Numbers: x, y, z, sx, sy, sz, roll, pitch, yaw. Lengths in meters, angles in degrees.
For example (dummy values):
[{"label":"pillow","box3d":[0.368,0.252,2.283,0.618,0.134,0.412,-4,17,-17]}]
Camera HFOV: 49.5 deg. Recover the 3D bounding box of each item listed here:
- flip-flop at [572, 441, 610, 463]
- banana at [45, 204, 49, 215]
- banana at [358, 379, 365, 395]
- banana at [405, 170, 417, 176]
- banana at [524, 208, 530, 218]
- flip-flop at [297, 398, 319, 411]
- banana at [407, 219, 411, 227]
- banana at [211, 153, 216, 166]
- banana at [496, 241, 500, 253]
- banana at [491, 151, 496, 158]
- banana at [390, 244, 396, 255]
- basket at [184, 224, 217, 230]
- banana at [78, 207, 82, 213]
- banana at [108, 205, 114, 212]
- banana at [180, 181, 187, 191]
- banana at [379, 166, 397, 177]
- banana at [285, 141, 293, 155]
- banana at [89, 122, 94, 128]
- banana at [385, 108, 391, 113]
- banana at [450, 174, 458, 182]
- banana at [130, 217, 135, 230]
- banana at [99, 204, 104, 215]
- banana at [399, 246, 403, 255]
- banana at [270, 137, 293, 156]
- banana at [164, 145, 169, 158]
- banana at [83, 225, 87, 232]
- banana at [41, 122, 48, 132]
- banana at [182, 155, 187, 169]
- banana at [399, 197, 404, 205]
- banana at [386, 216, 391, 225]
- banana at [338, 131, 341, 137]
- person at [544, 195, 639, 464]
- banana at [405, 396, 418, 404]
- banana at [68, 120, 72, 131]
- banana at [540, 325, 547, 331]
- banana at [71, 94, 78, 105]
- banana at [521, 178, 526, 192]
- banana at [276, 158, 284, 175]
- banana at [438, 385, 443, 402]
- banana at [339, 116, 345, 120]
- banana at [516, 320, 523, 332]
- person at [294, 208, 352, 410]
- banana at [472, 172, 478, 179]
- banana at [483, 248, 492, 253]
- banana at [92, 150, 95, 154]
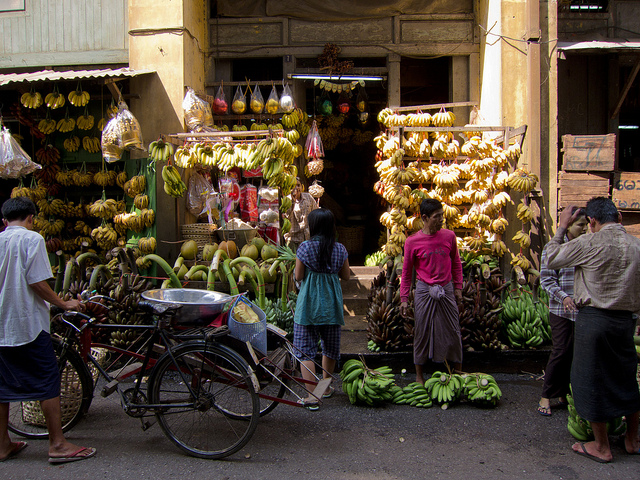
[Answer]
[{"label":"flip-flop","box3d":[2.752,2.173,7.037,0.261,0.066,0.123,15,12,43]},{"label":"banana","box3d":[-4.315,-0.489,10.987,0.068,0.135,0.058,-3,10,-16]},{"label":"banana","box3d":[0.462,1.683,7.912,0.062,0.128,0.114,-2,10,-11]},{"label":"banana","box3d":[1.282,-0.948,9.770,0.171,0.052,0.043,23,33,2]},{"label":"banana","box3d":[2.891,-0.383,9.732,0.049,0.118,0.030,15,-10,28]},{"label":"flip-flop","box3d":[-0.119,1.853,7.727,0.225,0.124,0.132,8,-7,-26]},{"label":"banana","box3d":[1.255,-0.234,9.807,0.042,0.098,0.039,4,10,23]},{"label":"banana","box3d":[-1.481,-1.130,9.661,0.056,0.161,0.120,-2,10,-13]},{"label":"banana","box3d":[2.519,0.107,9.866,0.047,0.136,0.058,3,10,18]},{"label":"banana","box3d":[2.498,-1.242,10.017,0.025,0.107,0.088,5,-4,-42]},{"label":"banana","box3d":[1.009,0.129,9.610,0.060,0.120,0.026,-15,-6,-7]},{"label":"basket","box3d":[-1.678,-0.191,10.132,0.354,0.087,0.184,-3,11,-13]},{"label":"banana","box3d":[-3.821,-0.474,11.073,0.060,0.072,0.014,-6,11,-29]},{"label":"banana","box3d":[-3.148,-0.479,10.492,0.017,0.085,0.038,-4,14,39]},{"label":"banana","box3d":[-1.948,-0.776,9.898,0.068,0.106,0.362,-2,20,-9]},{"label":"banana","box3d":[0.981,-0.981,10.033,0.248,0.078,0.074,-39,-9,11]},{"label":"banana","box3d":[-0.414,-1.255,9.511,0.070,0.146,0.259,2,11,12]},{"label":"banana","box3d":[-3.536,-1.796,10.764,0.072,0.015,0.072,-46,-3,34]},{"label":"banana","box3d":[1.022,-1.965,10.513,0.088,0.039,0.129,2,16,0]},{"label":"banana","box3d":[1.883,-0.878,9.796,0.031,0.148,0.032,-33,-3,-41]},{"label":"banana","box3d":[-2.733,-0.244,10.119,0.074,0.171,0.050,1,9,6]},{"label":"banana","box3d":[-3.287,-0.464,10.459,0.059,0.121,0.024,0,7,-2]},{"label":"banana","box3d":[1.124,0.150,9.649,0.046,0.090,0.070,7,12,36]},{"label":"banana","box3d":[-0.500,-1.256,9.294,0.137,0.211,0.325,-7,9,11]},{"label":"banana","box3d":[-2.133,-1.245,9.684,0.054,0.162,0.071,-2,10,-13]},{"label":"banana","box3d":[-3.764,-0.175,11.167,0.052,0.096,0.037,1,9,6]},{"label":"banana","box3d":[-4.277,-1.757,10.794,0.099,0.144,0.045,-5,11,-27]},{"label":"banana","box3d":[-1.879,-1.090,9.641,0.039,0.215,0.053,11,7,6]},{"label":"banana","box3d":[1.134,-0.546,9.688,0.068,0.092,0.041,-3,10,-15]},{"label":"banana","box3d":[0.965,-0.282,9.872,0.029,0.124,0.156,-2,10,-10]},{"label":"banana","box3d":[0.347,-1.956,12.718,0.061,0.072,0.017,-26,47,-19]},{"label":"person","box3d":[2.831,0.899,7.137,0.904,2.598,0.718,5,11,29]},{"label":"banana","box3d":[1.052,1.846,7.983,0.133,0.047,0.042,-17,-18,-12]},{"label":"banana","box3d":[-3.874,-1.787,10.759,0.019,0.171,0.041,-1,-5,1]},{"label":"banana","box3d":[2.818,1.117,8.829,0.095,0.078,0.050,-5,11,-26]},{"label":"banana","box3d":[-3.627,-2.084,10.266,0.036,0.160,0.036,19,-1,-23]},{"label":"banana","box3d":[2.820,-0.776,9.659,0.065,0.164,0.058,-2,10,-11]},{"label":"banana","box3d":[-0.541,-1.009,9.398,0.097,0.211,0.352,-1,11,-2]},{"label":"banana","box3d":[1.376,1.766,7.926,0.038,0.159,0.049,-20,-48,39]},{"label":"banana","box3d":[0.387,-2.168,12.297,0.075,0.055,0.021,-5,11,-26]},{"label":"banana","box3d":[2.501,1.085,8.737,0.081,0.116,0.100,3,11,18]},{"label":"person","box3d":[-0.001,0.772,7.850,0.587,2.227,1.503,1,10,11]},{"label":"banana","box3d":[2.241,-0.925,10.029,0.033,0.144,0.030,3,49,-11]},{"label":"banana","box3d":[2.370,0.143,9.863,0.124,0.039,0.041,26,-36,2]},{"label":"banana","box3d":[-3.572,-1.394,10.961,0.028,0.063,0.068,-4,11,-20]}]
